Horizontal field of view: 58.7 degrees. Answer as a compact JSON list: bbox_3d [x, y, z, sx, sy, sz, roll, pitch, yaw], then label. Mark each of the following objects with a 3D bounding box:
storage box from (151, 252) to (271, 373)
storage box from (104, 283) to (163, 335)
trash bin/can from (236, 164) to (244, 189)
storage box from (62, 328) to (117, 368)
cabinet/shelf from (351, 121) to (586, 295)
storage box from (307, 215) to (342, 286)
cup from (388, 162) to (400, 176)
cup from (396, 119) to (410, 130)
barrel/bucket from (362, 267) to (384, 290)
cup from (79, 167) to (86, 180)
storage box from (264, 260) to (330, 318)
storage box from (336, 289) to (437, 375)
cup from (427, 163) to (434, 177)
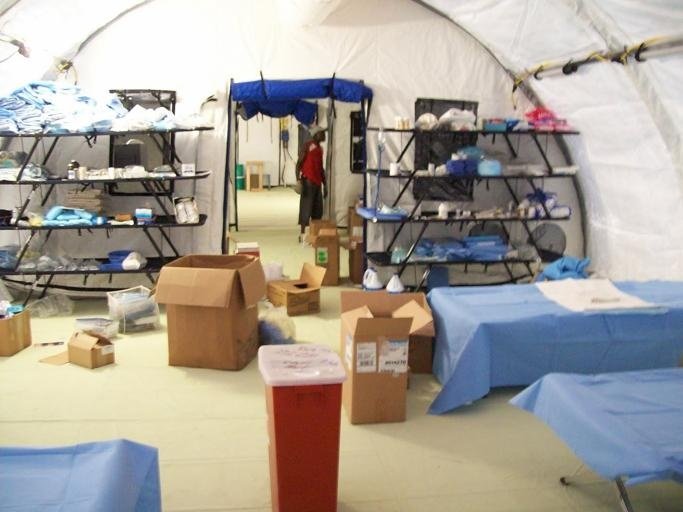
[{"bbox_3d":[-1.071,0.476,5.257,0.862,0.852,0.913,1,14,0],"label":"storage box"},{"bbox_3d":[-2.010,0.457,5.928,0.519,0.481,0.525,4,3,3],"label":"storage box"},{"bbox_3d":[-2.778,-2.189,16.848,0.231,0.714,0.411,-3,12,-8],"label":"trash bin/can"},{"bbox_3d":[-2.101,0.740,5.070,0.380,0.298,0.271,11,16,37],"label":"storage box"},{"bbox_3d":[1.429,-0.574,6.832,1.804,1.627,0.488,-2,16,-6],"label":"cabinet/shelf"},{"bbox_3d":[-0.213,-0.037,7.502,0.433,0.790,0.809,-2,14,-3],"label":"storage box"},{"bbox_3d":[0.563,-0.956,6.726,0.103,0.152,0.166,-1,9,-6],"label":"cup"},{"bbox_3d":[0.676,-1.453,6.664,0.147,0.132,0.128,-2,12,0],"label":"cup"},{"bbox_3d":[0.321,0.246,6.331,0.168,0.214,0.230,-3,12,-5],"label":"barrel/bucket"},{"bbox_3d":[-2.615,-0.834,6.149,0.093,0.119,0.122,-7,13,-25],"label":"cup"},{"bbox_3d":[-0.470,0.359,6.401,0.498,0.454,0.454,-9,14,-31],"label":"storage box"},{"bbox_3d":[0.396,0.578,4.929,0.640,0.585,0.794,-1,6,-6],"label":"storage box"},{"bbox_3d":[0.991,-0.950,6.685,0.080,0.118,0.241,0,12,8],"label":"cup"}]
